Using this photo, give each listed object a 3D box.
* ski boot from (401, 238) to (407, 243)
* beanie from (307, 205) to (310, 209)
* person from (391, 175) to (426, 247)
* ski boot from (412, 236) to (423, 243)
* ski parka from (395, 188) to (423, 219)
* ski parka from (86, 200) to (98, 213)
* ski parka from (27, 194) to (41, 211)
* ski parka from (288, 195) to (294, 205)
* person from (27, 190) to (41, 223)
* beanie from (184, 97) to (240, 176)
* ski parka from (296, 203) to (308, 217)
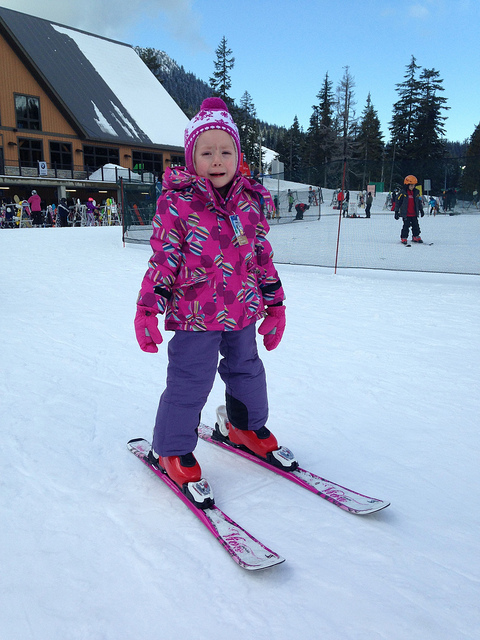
[{"bbox_3d":[2.983,-1.454,9.172,0.133,0.061,0.183,1,6,6],"label":"ski boot"},{"bbox_3d":[2.293,-3.812,17.076,0.077,0.040,0.285,0,28,7],"label":"beanie"},{"bbox_3d":[3.009,-1.954,9.064,0.527,1.186,0.856,9,14,29],"label":"person"},{"bbox_3d":[3.282,-1.484,9.305,0.081,0.144,0.237,-21,26,-39],"label":"ski boot"},{"bbox_3d":[3.013,-2.083,8.966,0.576,0.576,0.320,-1,3,2],"label":"ski parka"},{"bbox_3d":[-6.270,-4.671,20.855,0.311,0.464,0.498,-2,13,-18],"label":"ski parka"},{"bbox_3d":[-7.371,-4.171,17.970,0.327,0.551,0.604,-3,13,-23],"label":"ski parka"},{"bbox_3d":[1.798,-4.323,18.116,0.225,0.304,0.079,0,-22,-13],"label":"ski parka"},{"bbox_3d":[-7.433,-4.042,18.124,0.366,1.059,0.872,-3,13,-22],"label":"person"},{"bbox_3d":[-0.122,-0.760,2.022,0.204,0.269,0.186,-8,21,-19],"label":"beanie"},{"bbox_3d":[1.978,-3.581,16.444,0.195,0.448,0.464,7,10,26],"label":"ski parka"}]
